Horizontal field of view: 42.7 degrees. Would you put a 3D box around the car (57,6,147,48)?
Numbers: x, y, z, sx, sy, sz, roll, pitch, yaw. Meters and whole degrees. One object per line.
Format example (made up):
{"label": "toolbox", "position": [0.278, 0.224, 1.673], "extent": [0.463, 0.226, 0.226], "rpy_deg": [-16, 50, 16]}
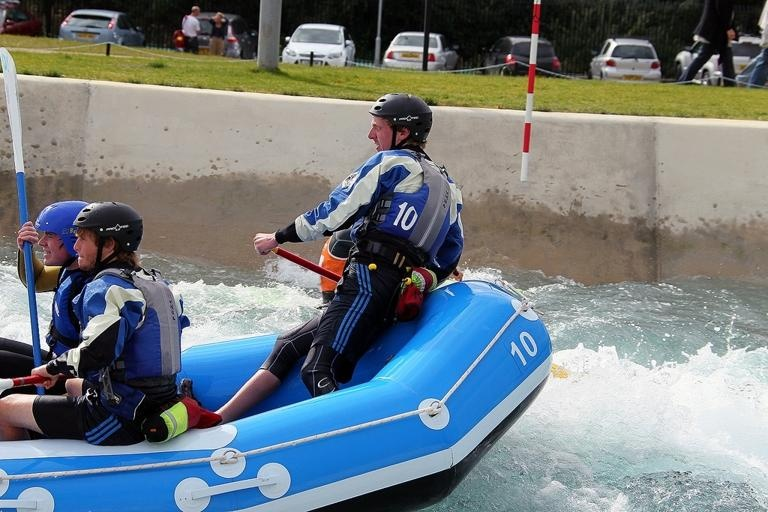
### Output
{"label": "car", "position": [-6.054, -4.925, 21.131], "extent": [1.373, 0.808, 2.114], "rpy_deg": [10, 9, 23]}

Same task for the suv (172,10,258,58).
{"label": "suv", "position": [-3.556, -5.024, 22.584], "extent": [1.272, 0.951, 2.146], "rpy_deg": [4, 19, 12]}

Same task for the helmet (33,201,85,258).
{"label": "helmet", "position": [-2.470, -0.243, 7.631], "extent": [0.478, 0.357, 0.363], "rpy_deg": [3, 18, -33]}

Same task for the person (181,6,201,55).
{"label": "person", "position": [-4.121, -4.835, 21.019], "extent": [0.380, 1.013, 1.001], "rpy_deg": [4, 9, -12]}

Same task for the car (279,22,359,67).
{"label": "car", "position": [-1.322, -4.218, 19.825], "extent": [1.194, 0.809, 2.100], "rpy_deg": [2, 8, 6]}

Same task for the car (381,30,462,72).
{"label": "car", "position": [0.864, -4.420, 21.247], "extent": [0.886, 0.596, 1.900], "rpy_deg": [5, 16, 16]}

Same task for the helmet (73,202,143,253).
{"label": "helmet", "position": [-1.999, -0.226, 7.184], "extent": [0.407, 0.353, 0.517], "rpy_deg": [9, 11, 44]}

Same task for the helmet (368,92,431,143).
{"label": "helmet", "position": [0.145, -1.120, 7.983], "extent": [0.535, 0.375, 0.417], "rpy_deg": [-3, 10, -38]}
